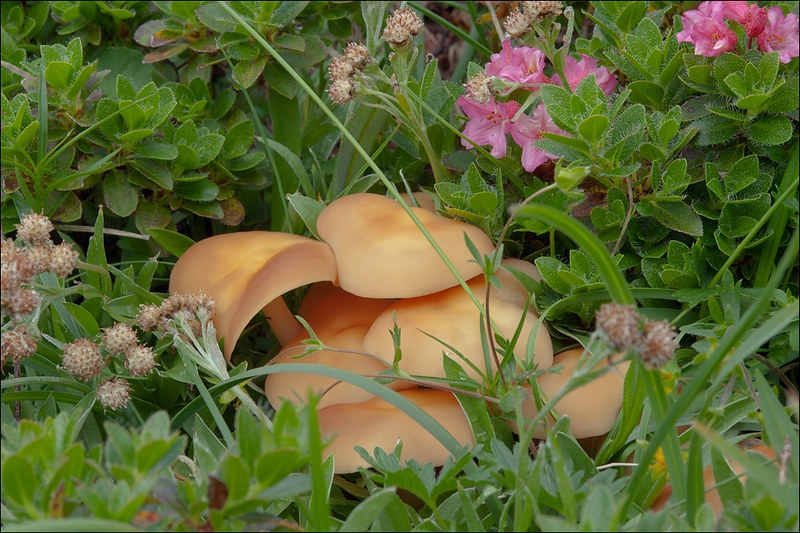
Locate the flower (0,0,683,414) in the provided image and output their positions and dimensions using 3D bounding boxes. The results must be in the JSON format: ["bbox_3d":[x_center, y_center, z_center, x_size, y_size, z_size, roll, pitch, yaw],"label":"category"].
[{"bbox_3d":[-0.010,-0.131,1.686,1.074,1.174,0.546,14,68,23],"label":"flower"}]
